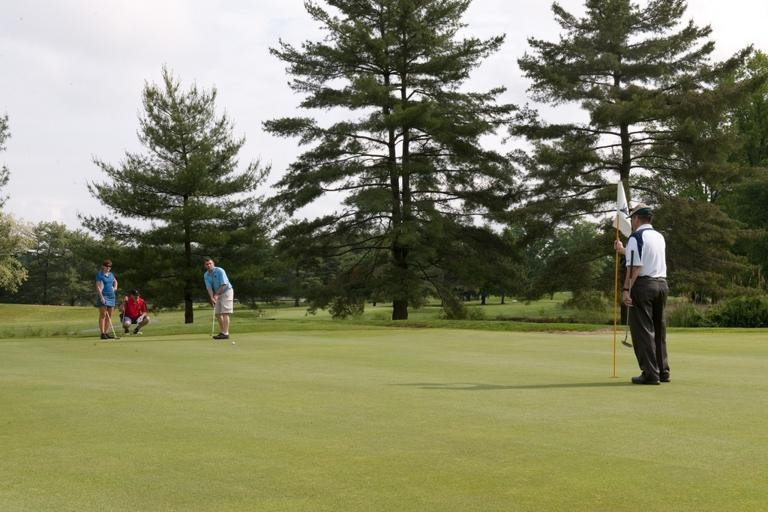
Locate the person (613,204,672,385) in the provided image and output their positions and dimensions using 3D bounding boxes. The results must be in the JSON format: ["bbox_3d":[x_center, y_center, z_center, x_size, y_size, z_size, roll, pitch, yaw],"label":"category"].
[{"bbox_3d":[4.052,0.728,11.690,0.712,2.342,0.854,2,6,16],"label":"person"}]

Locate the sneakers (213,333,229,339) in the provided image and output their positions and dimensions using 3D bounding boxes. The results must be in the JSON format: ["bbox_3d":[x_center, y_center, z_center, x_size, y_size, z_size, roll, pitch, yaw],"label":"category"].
[{"bbox_3d":[-3.625,1.789,16.941,0.333,0.126,0.132,0,-7,20],"label":"sneakers"}]

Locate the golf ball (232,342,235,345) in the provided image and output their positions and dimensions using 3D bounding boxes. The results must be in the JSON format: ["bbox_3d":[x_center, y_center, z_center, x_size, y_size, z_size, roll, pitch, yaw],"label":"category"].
[{"bbox_3d":[-3.131,1.830,15.882,0.050,0.032,0.043,17,13,-37],"label":"golf ball"}]

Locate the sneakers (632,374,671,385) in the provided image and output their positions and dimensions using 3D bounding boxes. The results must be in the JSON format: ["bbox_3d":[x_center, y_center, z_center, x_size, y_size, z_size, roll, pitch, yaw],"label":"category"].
[{"bbox_3d":[4.049,1.895,11.529,0.447,0.170,0.221,-6,-6,10],"label":"sneakers"}]

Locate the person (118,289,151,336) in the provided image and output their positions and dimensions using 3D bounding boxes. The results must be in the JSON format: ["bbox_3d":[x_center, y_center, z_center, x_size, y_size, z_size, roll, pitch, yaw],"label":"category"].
[{"bbox_3d":[-7.111,1.534,21.658,0.681,1.014,1.715,-2,6,-19],"label":"person"}]
